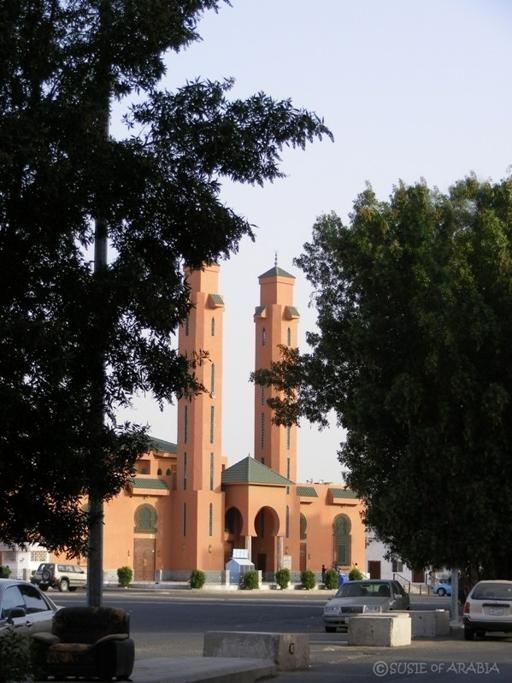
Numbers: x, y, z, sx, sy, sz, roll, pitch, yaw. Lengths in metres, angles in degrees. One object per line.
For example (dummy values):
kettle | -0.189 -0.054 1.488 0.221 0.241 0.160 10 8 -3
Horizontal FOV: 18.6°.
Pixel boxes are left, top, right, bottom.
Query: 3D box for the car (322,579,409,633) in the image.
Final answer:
car | 2.309 5.509 33.103 1.668 1.163 2.861 -1 -11 6

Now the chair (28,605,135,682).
chair | -2.285 3.919 20.552 1.296 0.985 2.063 1 -11 -8

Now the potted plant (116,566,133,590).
potted plant | -5.507 9.800 65.488 0.771 1.144 0.785 1 -3 -1
